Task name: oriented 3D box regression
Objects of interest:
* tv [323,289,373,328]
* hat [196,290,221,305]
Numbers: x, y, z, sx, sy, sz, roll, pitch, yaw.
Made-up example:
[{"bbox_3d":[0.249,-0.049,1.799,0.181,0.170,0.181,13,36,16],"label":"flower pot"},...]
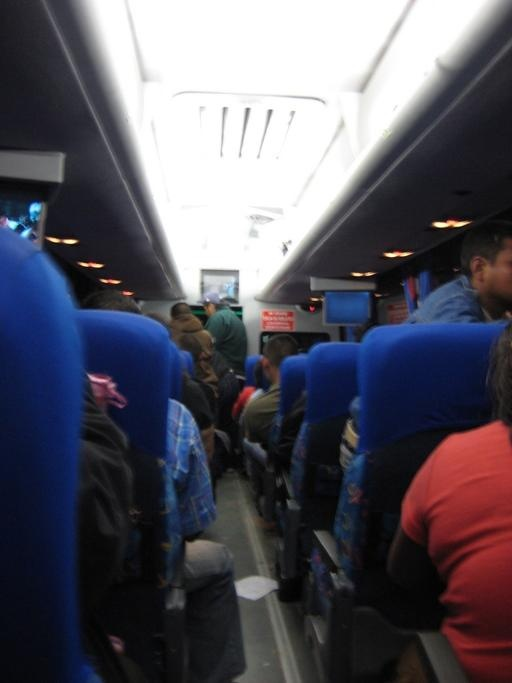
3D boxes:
[{"bbox_3d":[0.956,-0.334,5.396,0.638,0.452,0.358,1,-1,-9],"label":"tv"},{"bbox_3d":[-0.641,-0.650,7.497,0.261,0.214,0.399,-4,17,-37],"label":"hat"}]
